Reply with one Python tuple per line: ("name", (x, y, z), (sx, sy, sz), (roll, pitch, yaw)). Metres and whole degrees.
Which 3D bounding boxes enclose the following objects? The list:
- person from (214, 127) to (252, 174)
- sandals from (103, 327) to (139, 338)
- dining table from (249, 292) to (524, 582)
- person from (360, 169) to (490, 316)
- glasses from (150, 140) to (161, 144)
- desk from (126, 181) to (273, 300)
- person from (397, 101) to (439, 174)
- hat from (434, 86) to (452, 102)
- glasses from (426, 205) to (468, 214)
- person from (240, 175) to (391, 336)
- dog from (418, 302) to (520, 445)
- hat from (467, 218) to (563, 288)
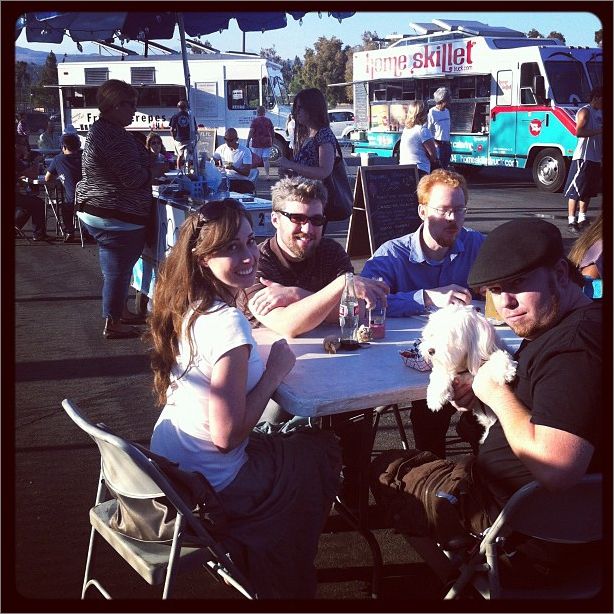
("person", (-1.600, -3.170, 12.117), (0.851, 0.921, 0.798), (5, 15, 17))
("sandals", (-1.844, 0.260, 5.853), (0.345, 0.109, 0.139), (-4, 12, -23))
("dining table", (0.273, 0.322, 2.837), (1.022, 1.103, 1.049), (-13, 24, -29))
("person", (0.722, -0.462, 4.006), (1.019, 1.039, 0.691), (-10, 22, -19))
("glasses", (-2.885, -3.150, 11.268), (0.139, 0.060, 0.146), (10, 21, 26))
("desk", (-1.174, -0.807, 6.208), (1.022, 1.553, 1.944), (-2, 19, -8))
("person", (1.797, -2.735, 9.522), (0.582, 1.135, 0.697), (4, 14, 14))
("hat", (2.515, -3.926, 10.972), (0.244, 0.311, 0.533), (4, 15, 13))
("glasses", (0.832, -0.567, 3.444), (0.242, 0.047, 0.126), (-1, 15, -9))
("person", (-0.043, -0.288, 3.138), (0.578, 0.907, 0.875), (-10, 13, -30))
("dog", (0.661, 0.291, 2.242), (0.270, 0.500, 0.387), (-28, 37, 21))
("hat", (0.642, -0.204, 1.822), (0.245, 0.143, 0.186), (-16, 0, -27))
